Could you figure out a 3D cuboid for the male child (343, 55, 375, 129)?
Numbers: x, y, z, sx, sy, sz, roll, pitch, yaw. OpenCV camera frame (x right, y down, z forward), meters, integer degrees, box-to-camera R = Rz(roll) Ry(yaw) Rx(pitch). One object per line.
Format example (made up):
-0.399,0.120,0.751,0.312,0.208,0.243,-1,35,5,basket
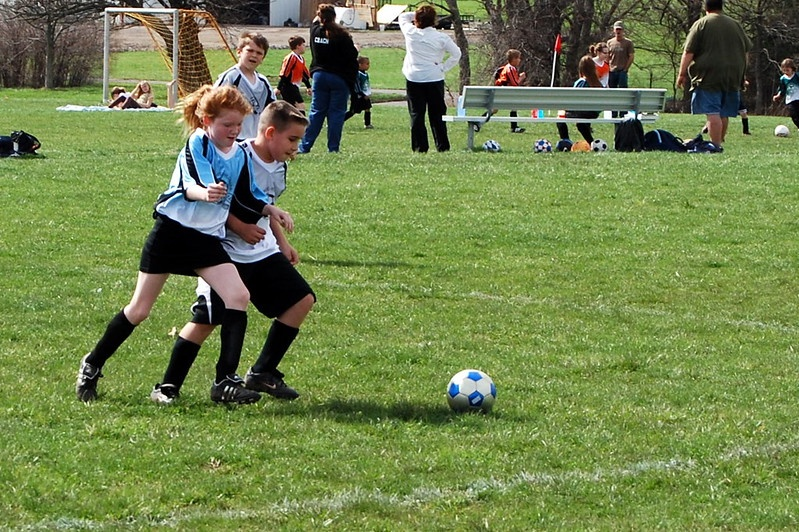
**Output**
-0.855,-3.488,23.513,0.749,1.445,0.441,5,18,10,male child

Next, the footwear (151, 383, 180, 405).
-2.298,1.257,11.471,0.284,0.183,0.149,0,5,25,footwear

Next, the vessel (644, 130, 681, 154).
4.643,-2.208,20.862,0.548,0.225,0.431,6,1,5,vessel

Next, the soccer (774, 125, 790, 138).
8.207,-2.918,25.312,0.323,0.251,0.817,3,7,18,soccer

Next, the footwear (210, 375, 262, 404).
-1.620,1.211,11.494,0.492,0.252,0.224,1,8,10,footwear

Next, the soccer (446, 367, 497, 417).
0.686,1.243,11.505,0.413,0.428,0.418,12,-30,5,soccer

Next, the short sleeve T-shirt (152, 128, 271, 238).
-1.756,-0.753,11.351,0.927,1.024,0.964,15,3,-28,short sleeve T-shirt

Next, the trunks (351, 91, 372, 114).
-0.727,-2.979,21.070,0.408,0.323,0.545,-3,-9,3,trunks

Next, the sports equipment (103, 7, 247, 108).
-6.456,-6.447,33.971,5.011,3.329,3.394,-9,14,-31,sports equipment

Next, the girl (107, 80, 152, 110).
-6.625,-4.282,29.790,0.689,0.672,1.159,-10,-10,43,girl

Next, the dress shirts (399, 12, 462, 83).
0.418,-3.692,20.136,1.005,1.077,0.844,3,7,18,dress shirts

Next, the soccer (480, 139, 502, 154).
1.632,-2.145,21.107,0.332,0.185,0.333,2,8,6,soccer

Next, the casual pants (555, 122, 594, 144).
3.381,-2.599,22.831,0.772,0.240,0.764,1,-3,6,casual pants

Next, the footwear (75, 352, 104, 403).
-3.044,1.069,11.549,0.174,0.525,0.221,3,0,-35,footwear

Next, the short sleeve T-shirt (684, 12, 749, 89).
5.445,-3.668,20.156,1.147,1.246,0.766,-2,4,-4,short sleeve T-shirt

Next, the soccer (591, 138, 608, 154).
3.567,-2.173,21.113,0.248,0.257,0.246,-1,-33,0,soccer

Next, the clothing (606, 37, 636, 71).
4.804,-4.663,25.691,0.497,0.722,0.511,2,6,11,clothing

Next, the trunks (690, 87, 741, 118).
5.408,-2.818,20.231,0.792,0.752,0.441,0,4,-29,trunks

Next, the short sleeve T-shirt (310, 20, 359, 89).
-1.163,-3.563,19.862,0.893,1.094,0.657,11,10,35,short sleeve T-shirt
